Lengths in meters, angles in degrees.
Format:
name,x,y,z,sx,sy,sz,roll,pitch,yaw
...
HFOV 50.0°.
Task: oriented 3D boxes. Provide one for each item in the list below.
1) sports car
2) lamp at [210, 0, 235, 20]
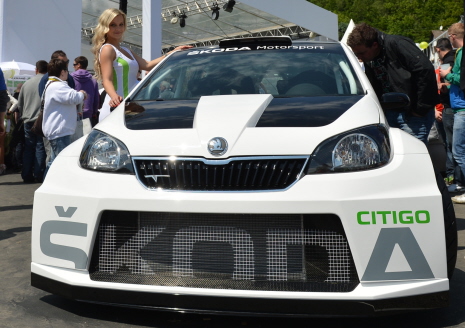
name,x,y,z,sx,sy,sz,roll,pitch,yaw
sports car,0.119,0.263,3.121,1.736,1.387,2.841,-1,-4,14
lamp,-0.381,-6.523,21.247,0.940,0.765,3.890,0,17,-4
